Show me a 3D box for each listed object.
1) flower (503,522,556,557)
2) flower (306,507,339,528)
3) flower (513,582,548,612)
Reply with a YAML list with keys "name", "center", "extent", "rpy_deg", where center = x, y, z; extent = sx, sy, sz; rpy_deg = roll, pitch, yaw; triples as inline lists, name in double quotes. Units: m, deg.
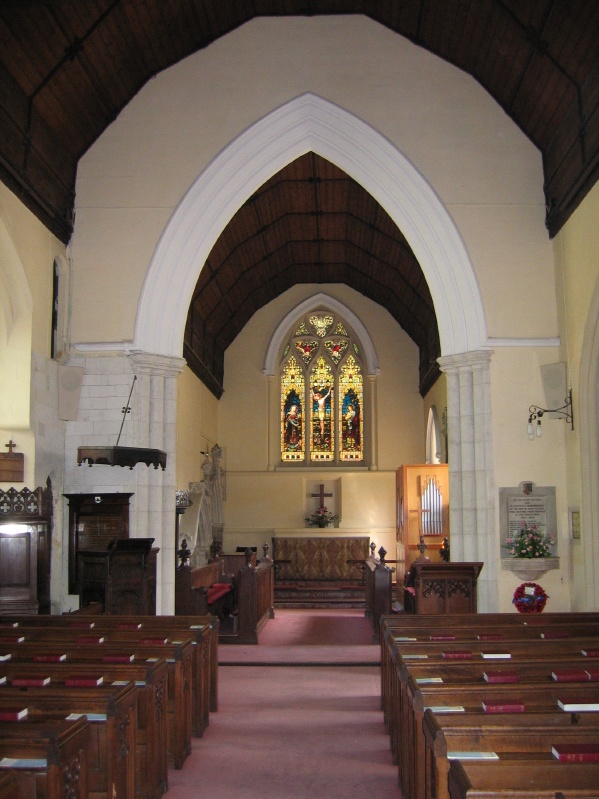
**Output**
- name: "flower"
  center: [2.791, 1.712, 8.467]
  extent: [0.383, 0.279, 0.388]
  rpy_deg: [-4, 0, -18]
- name: "flower"
  center: [0.529, 2.710, 16.128]
  extent: [0.696, 0.486, 0.641]
  rpy_deg: [1, -10, 2]
- name: "flower"
  center: [2.776, 2.357, 8.382]
  extent: [0.411, 0.321, 0.267]
  rpy_deg: [-2, -11, 16]
